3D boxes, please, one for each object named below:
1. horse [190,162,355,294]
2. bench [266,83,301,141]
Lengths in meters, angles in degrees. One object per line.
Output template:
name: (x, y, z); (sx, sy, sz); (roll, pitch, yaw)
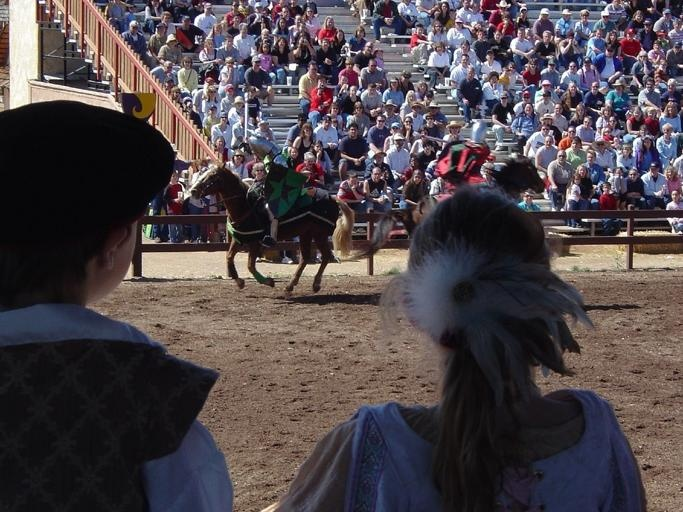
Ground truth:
horse: (-0.926, -0.343, 20.173); (2.475, 1.832, 0.756); (2, -6, -23)
bench: (-1.122, -2.755, 25.784); (0.882, 1.340, 0.295); (3, -13, -12)
